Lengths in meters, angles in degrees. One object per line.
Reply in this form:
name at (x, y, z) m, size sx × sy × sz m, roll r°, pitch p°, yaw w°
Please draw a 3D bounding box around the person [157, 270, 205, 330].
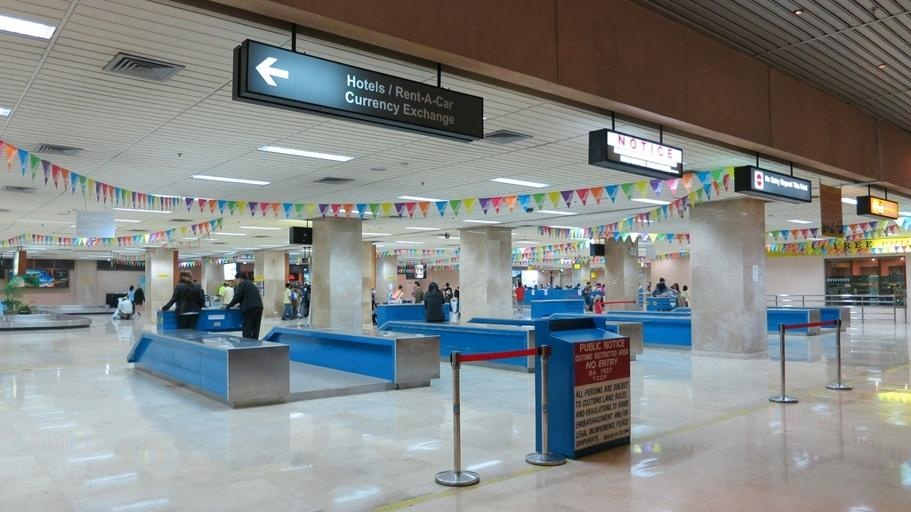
person at (-6.594, 1.075, 13.604) m, size 0.651 × 1.380 × 0.713 m, roll 0°, pitch 3°, yaw 5°
